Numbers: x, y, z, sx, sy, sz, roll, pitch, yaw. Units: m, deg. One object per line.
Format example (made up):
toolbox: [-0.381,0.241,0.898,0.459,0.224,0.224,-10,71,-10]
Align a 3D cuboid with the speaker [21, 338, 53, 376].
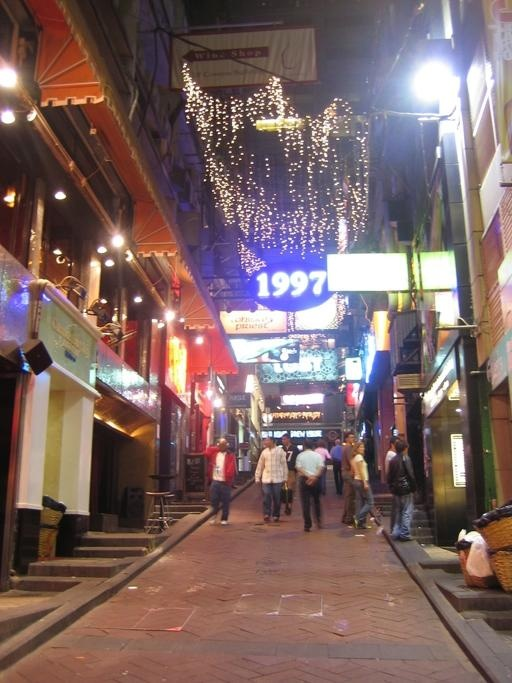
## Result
speaker: [-2.577,0.195,6.422,0.230,0.341,0.350,0,-17,-6]

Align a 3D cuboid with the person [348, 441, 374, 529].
person: [2.025,2.798,10.524,0.362,1.627,0.678,-4,-17,9]

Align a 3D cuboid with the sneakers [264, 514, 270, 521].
sneakers: [0.219,3.780,11.568,0.116,0.124,0.095,-1,-17,-2]

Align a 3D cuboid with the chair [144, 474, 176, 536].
chair: [-2.088,3.664,11.755,0.633,0.846,0.641,-3,-7,10]

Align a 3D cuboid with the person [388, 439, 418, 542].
person: [2.406,2.457,9.079,0.426,1.658,0.568,-1,-17,0]

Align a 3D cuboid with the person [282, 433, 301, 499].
person: [0.912,3.973,17.301,0.723,2.177,0.683,2,19,14]

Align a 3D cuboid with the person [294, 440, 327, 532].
person: [1.073,2.832,10.674,0.546,1.709,0.949,-3,-17,6]

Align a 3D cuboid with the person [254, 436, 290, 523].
person: [0.316,3.014,11.590,0.665,1.643,1.374,1,-18,-9]

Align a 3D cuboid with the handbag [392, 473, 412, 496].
handbag: [2.421,2.323,9.084,0.248,0.458,0.460,-7,-12,19]
